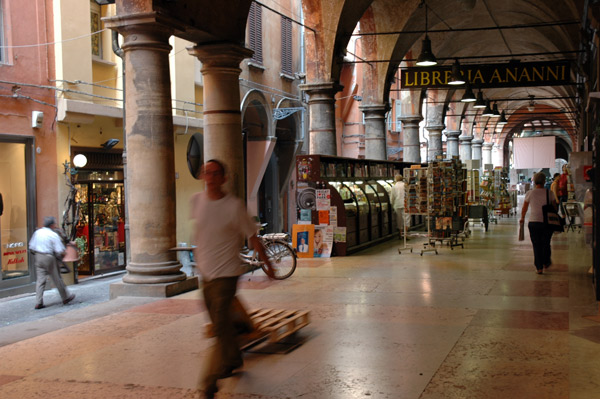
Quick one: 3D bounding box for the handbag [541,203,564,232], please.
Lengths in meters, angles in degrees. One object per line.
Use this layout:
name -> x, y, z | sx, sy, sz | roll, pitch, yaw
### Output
handbag -> 5.676, 0.394, 11.300 | 0.505, 0.651, 0.296 | -3, 0, -43

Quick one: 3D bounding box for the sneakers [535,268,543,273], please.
sneakers -> 5.375, 1.606, 11.358 | 0.138, 0.107, 0.179 | -3, 0, 22

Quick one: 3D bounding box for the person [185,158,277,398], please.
person -> -0.853, 0.884, 5.917 | 0.744, 2.750, 0.543 | -3, 0, -9

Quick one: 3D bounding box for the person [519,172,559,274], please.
person -> 5.489, 0.503, 11.682 | 0.753, 2.373, 1.245 | -3, 0, 25

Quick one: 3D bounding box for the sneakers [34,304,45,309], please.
sneakers -> -6.642, 2.725, 12.831 | 0.093, 0.110, 0.264 | 2, -13, -6
